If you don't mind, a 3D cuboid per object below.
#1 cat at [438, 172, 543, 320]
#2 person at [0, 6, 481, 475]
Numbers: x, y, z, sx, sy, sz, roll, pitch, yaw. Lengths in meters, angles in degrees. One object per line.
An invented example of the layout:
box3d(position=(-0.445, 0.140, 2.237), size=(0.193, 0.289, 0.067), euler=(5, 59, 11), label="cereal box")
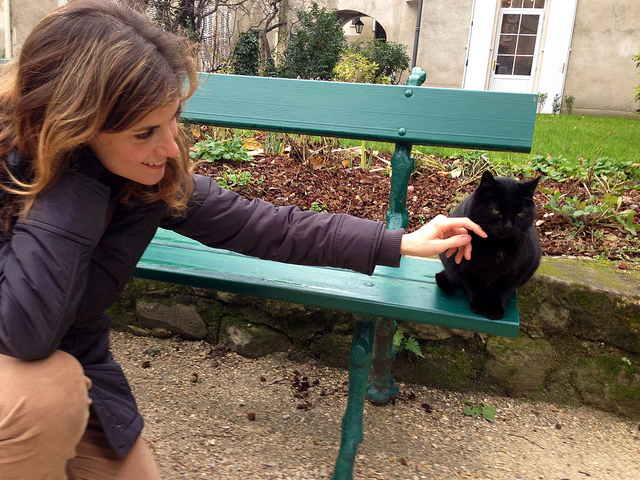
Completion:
box3d(position=(0.678, 0.009, 2.048), size=(0.444, 0.503, 0.629), euler=(9, 13, 14), label="cat")
box3d(position=(-0.475, 0.026, 1.698), size=(1.085, 1.401, 0.456), euler=(-5, 21, -28), label="person")
